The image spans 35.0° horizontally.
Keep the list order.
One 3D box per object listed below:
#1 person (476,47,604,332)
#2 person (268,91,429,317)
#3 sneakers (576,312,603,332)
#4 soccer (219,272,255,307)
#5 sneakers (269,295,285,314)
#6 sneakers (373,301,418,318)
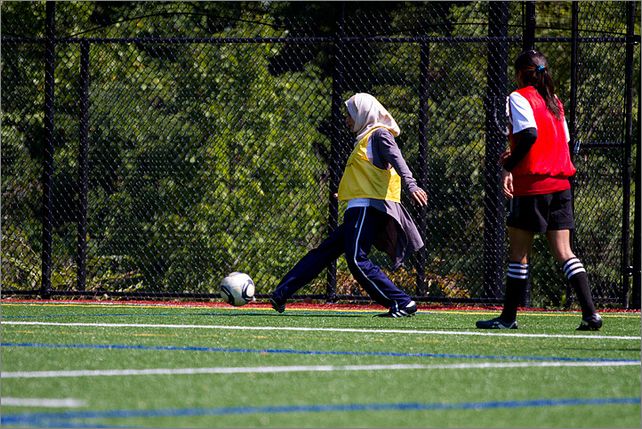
[{"bbox_3d":[2.070,-0.231,9.677,0.963,2.661,0.335,1,4,9],"label":"person"},{"bbox_3d":[0.593,-0.089,10.545,0.864,2.345,0.545,1,4,12],"label":"person"},{"bbox_3d":[2.554,1.033,9.692,0.100,0.160,0.276,4,-5,-33],"label":"sneakers"},{"bbox_3d":[-0.901,0.803,10.941,0.315,0.334,0.335,-2,-45,-43],"label":"soccer"},{"bbox_3d":[-0.464,0.926,10.900,0.123,0.276,0.092,-27,30,-24],"label":"sneakers"},{"bbox_3d":[0.783,0.981,10.693,0.433,0.230,0.163,1,-2,-6],"label":"sneakers"}]
